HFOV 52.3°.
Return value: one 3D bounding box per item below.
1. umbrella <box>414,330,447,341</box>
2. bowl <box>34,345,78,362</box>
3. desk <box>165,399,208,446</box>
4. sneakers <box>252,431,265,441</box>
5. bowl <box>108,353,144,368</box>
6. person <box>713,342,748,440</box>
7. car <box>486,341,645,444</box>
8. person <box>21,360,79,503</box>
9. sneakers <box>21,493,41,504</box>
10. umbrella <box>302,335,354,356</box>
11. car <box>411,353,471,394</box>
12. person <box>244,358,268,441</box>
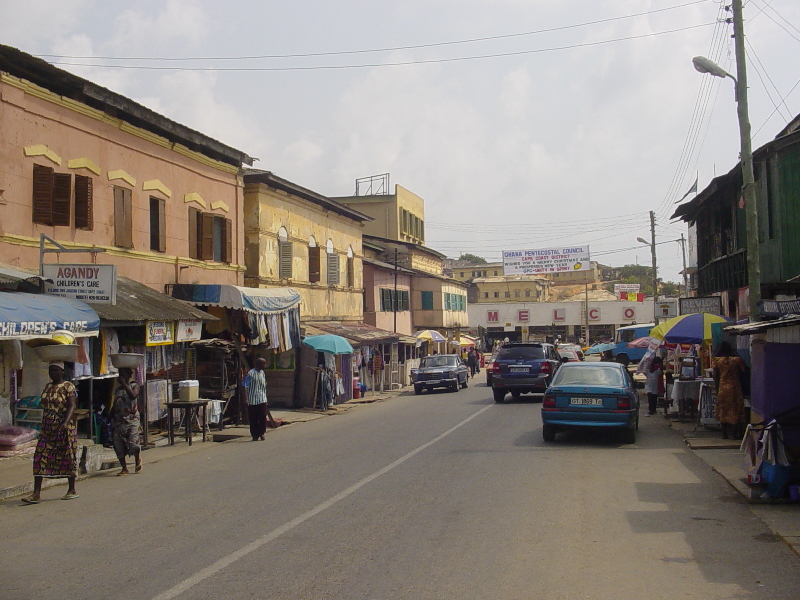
[{"bbox_3d":[1.771,2.009,47.654,1.320,0.745,3.400,-4,-7,6],"label":"umbrella"},{"bbox_3d":[-6.610,0.998,15.661,0.501,0.319,1.015,3,-10,-42],"label":"bowl"},{"bbox_3d":[-5.359,3.020,20.570,0.637,0.991,1.395,-2,-3,4],"label":"desk"},{"bbox_3d":[-3.544,3.379,20.292,0.248,0.299,0.165,1,-5,1],"label":"sneakers"},{"bbox_3d":[-6.194,1.354,18.275,0.610,0.341,0.543,-1,-7,-12],"label":"bowl"},{"bbox_3d":[7.491,2.026,18.458,0.670,2.153,1.096,-5,-6,26],"label":"person"},{"bbox_3d":[4.327,2.329,18.761,2.058,1.865,2.541,-4,-7,16],"label":"car"},{"bbox_3d":[-5.777,2.189,13.586,0.664,2.270,0.304,-2,-5,4],"label":"person"},{"bbox_3d":[-6.136,3.263,13.485,0.457,0.168,0.275,-8,-8,33],"label":"sneakers"},{"bbox_3d":[-2.501,1.472,27.912,1.300,0.732,1.421,-9,-9,41],"label":"umbrella"},{"bbox_3d":[1.726,3.307,37.042,1.998,1.792,3.098,-4,-7,12],"label":"car"},{"bbox_3d":[-3.620,2.467,20.387,0.513,2.035,0.631,-1,-5,-12],"label":"person"}]
